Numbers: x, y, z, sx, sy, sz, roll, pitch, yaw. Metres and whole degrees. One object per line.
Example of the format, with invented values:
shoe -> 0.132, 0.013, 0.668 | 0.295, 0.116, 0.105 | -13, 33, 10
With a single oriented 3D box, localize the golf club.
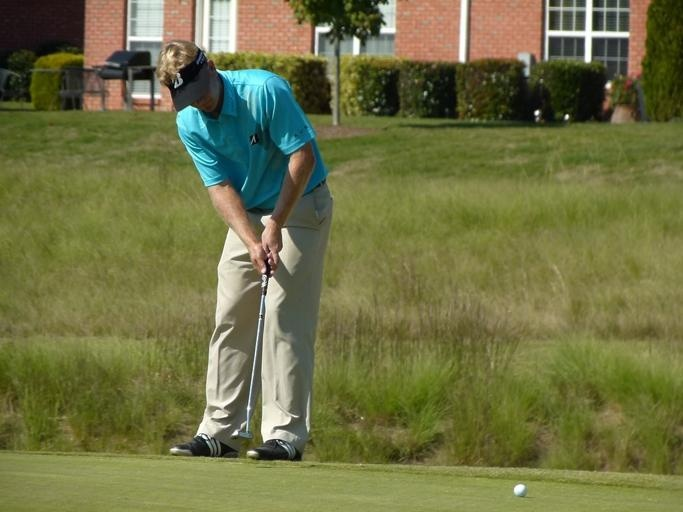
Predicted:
golf club -> -0.530, 0.628, 10.965 | 0.190, 1.465, 0.209 | 4, -9, 44

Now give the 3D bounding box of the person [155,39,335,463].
person -> -0.605, -0.060, 11.002 | 1.069, 3.453, 0.997 | 1, 7, 0
